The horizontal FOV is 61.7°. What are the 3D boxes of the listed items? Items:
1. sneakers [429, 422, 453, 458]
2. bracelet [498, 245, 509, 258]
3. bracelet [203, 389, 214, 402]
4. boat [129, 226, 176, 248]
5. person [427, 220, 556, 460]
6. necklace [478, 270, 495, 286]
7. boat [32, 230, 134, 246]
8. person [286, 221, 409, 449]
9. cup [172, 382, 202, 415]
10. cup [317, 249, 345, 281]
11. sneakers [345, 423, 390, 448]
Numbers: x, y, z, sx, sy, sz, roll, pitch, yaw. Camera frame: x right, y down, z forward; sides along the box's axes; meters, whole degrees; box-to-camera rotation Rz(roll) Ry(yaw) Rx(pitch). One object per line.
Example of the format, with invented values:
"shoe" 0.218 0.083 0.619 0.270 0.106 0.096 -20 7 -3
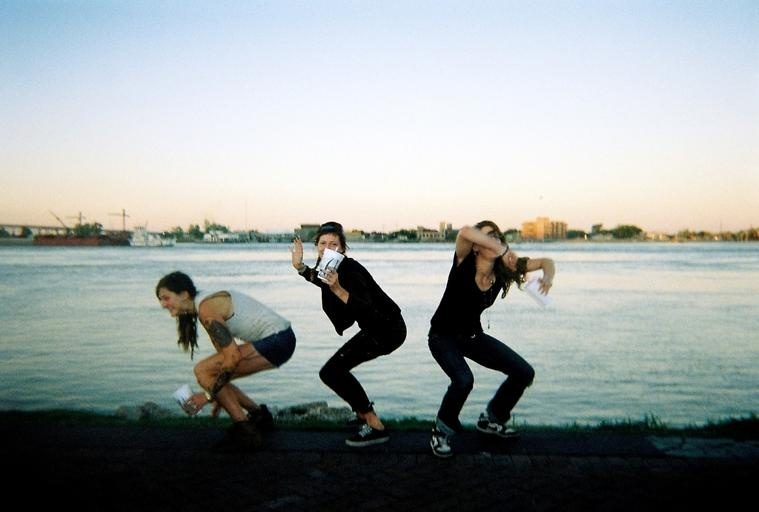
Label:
"sneakers" 0.781 2.340 8.020 0.209 0.238 0.524 2 -5 -6
"bracelet" 1.562 -0.067 7.975 0.116 0.138 0.208 0 0 9
"bracelet" -2.139 1.751 7.992 0.134 0.115 0.053 12 34 42
"boat" -67.754 -4.798 183.990 5.225 6.224 15.722 -3 -4 22
"person" 1.358 1.066 8.193 1.429 2.973 0.846 0 0 2
"necklace" 1.373 0.287 8.150 0.277 0.208 0.093 -1 0 -37
"boat" -79.560 -4.979 168.504 3.644 5.294 33.086 1 3 29
"person" -0.372 1.018 8.311 1.404 2.823 1.191 0 0 1
"cup" -2.434 1.799 7.986 0.213 0.259 0.219 -12 -14 -3
"cup" -0.613 0.103 8.033 0.350 0.398 0.226 0 0 -6
"sneakers" -0.154 2.376 8.482 0.608 0.273 0.231 -1 -4 -12
